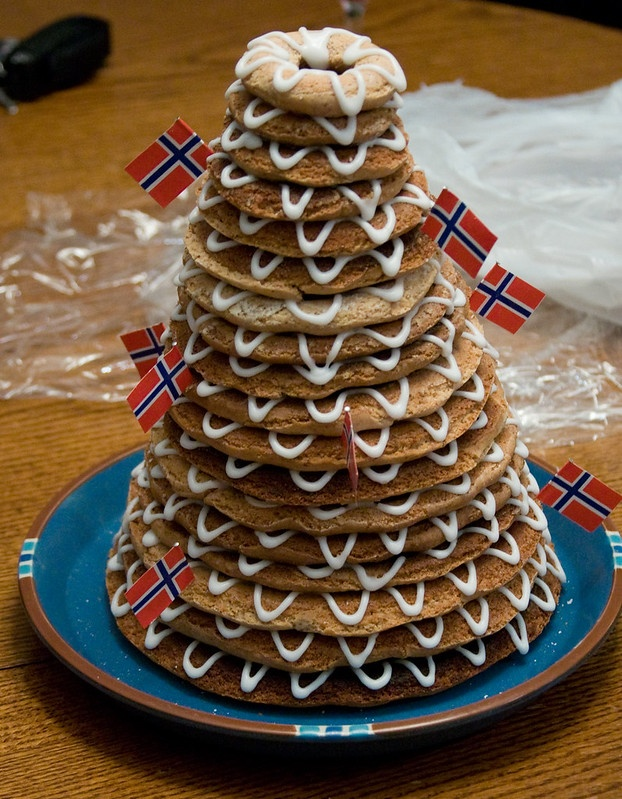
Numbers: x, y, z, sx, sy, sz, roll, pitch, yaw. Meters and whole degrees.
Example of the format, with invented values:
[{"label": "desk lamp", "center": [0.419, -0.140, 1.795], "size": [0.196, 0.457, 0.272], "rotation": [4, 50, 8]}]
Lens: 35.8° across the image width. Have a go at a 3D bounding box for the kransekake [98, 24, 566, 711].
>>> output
[{"label": "kransekake", "center": [0.009, -0.029, 1.136], "size": [0.614, 0.764, 0.415], "rotation": [-9, 30, -9]}]
